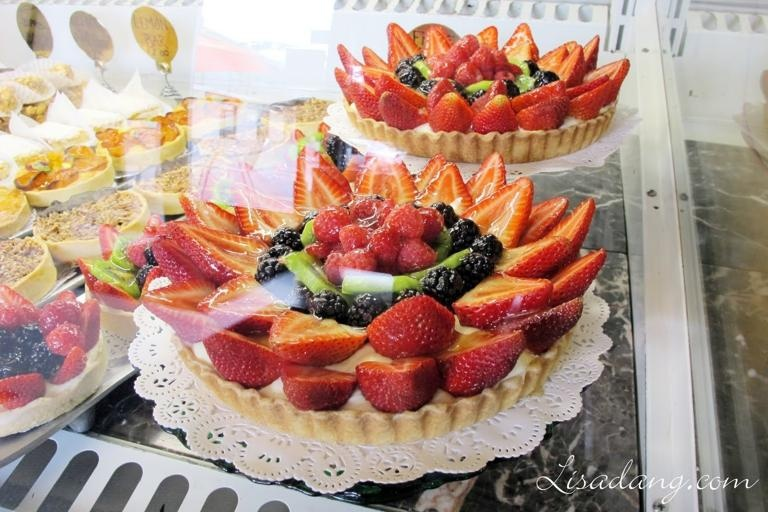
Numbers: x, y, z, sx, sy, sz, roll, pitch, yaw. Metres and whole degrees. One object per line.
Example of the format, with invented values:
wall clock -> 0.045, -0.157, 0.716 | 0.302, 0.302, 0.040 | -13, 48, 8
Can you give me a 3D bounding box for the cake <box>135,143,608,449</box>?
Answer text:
cake -> -0.024, 0.088, 1.877 | 1.502, 0.610, 0.876 | 1, 33, -6
